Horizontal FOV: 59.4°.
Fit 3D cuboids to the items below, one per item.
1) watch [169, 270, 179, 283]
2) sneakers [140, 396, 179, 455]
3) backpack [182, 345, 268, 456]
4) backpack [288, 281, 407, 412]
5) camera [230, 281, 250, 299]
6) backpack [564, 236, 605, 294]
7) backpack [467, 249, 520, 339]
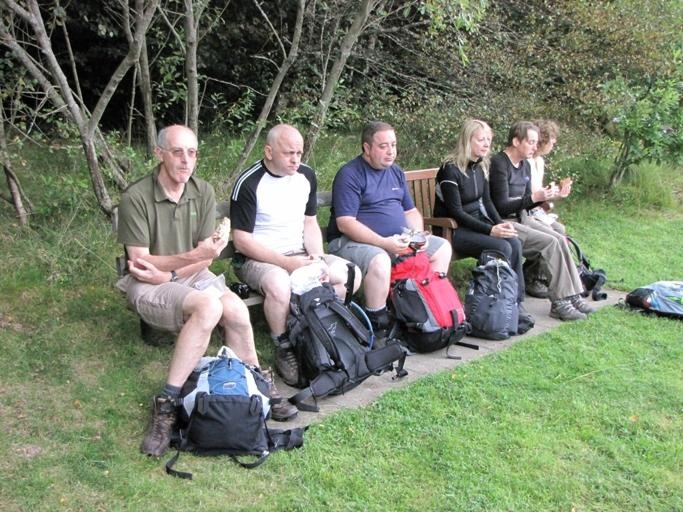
[{"bbox_3d":[-1.241,0.157,4.450,0.047,0.072,0.075,-2,1,-8],"label":"watch"},{"bbox_3d":[-1.164,1.105,3.935,0.151,0.213,0.475,19,44,-25],"label":"sneakers"},{"bbox_3d":[-0.752,0.983,4.030,0.456,0.674,0.254,-1,-17,-6],"label":"backpack"},{"bbox_3d":[-0.045,0.701,4.546,0.835,0.918,0.380,-18,-6,-24],"label":"backpack"},{"bbox_3d":[-0.835,0.288,4.931,0.154,0.099,0.105,37,30,17],"label":"camera"},{"bbox_3d":[2.783,0.214,6.746,0.251,0.693,0.487,-29,-5,28],"label":"backpack"},{"bbox_3d":[1.421,0.423,5.659,0.502,0.692,0.321,10,16,12],"label":"backpack"}]
